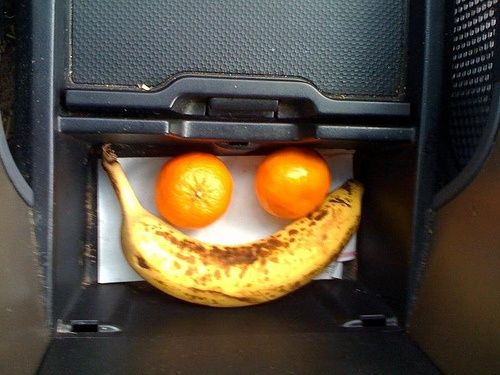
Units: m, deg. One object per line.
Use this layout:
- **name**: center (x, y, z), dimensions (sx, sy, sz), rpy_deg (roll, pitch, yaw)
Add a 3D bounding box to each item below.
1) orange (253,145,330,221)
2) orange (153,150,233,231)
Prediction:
- **orange**: center (0.068, -0.007, 0.936), dimensions (0.150, 0.127, 0.155), rpy_deg (1, -12, -31)
- **orange**: center (-0.097, 0.006, 0.889), dimensions (0.129, 0.130, 0.076), rpy_deg (5, 9, 8)
